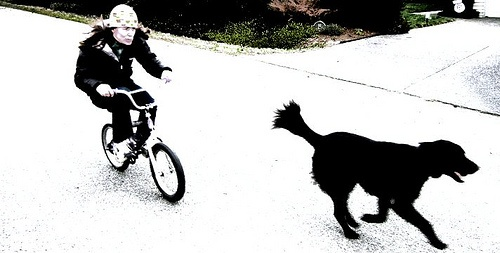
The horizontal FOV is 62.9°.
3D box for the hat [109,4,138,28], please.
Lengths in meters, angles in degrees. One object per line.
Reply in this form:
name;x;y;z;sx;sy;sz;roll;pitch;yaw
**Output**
hat;-2.311;-2.054;7.609;0.594;0.397;0.379;-8;18;18
